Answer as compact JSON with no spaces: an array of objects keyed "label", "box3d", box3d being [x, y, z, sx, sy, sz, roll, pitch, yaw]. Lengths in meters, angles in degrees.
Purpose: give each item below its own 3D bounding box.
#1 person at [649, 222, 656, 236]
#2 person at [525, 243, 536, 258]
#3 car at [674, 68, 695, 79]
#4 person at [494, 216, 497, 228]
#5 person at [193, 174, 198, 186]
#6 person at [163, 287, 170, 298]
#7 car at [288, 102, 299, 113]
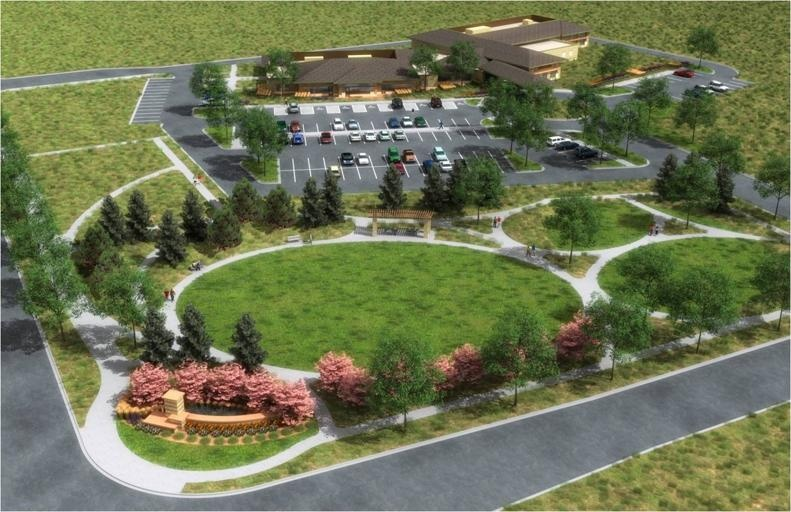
[{"label":"person","box3d":[42.866,-4.441,115.404,1.587,2.075,1.042,-11,74,19]},{"label":"person","box3d":[21.369,-0.979,109.714,1.678,0.815,1.995,-8,35,-8]},{"label":"car","box3d":[69.349,-43.976,166.015,2.858,1.679,4.611,-32,44,-31]},{"label":"person","box3d":[16.942,-5.761,115.834,0.607,1.000,1.782,3,47,4]},{"label":"person","box3d":[-36.062,-13.742,124.362,0.900,0.541,2.555,-9,36,-6]},{"label":"person","box3d":[-32.942,5.393,98.941,0.730,0.991,1.363,-8,44,-27]},{"label":"car","box3d":[-21.935,-31.779,149.048,1.691,1.187,3.359,-4,25,-7]}]
